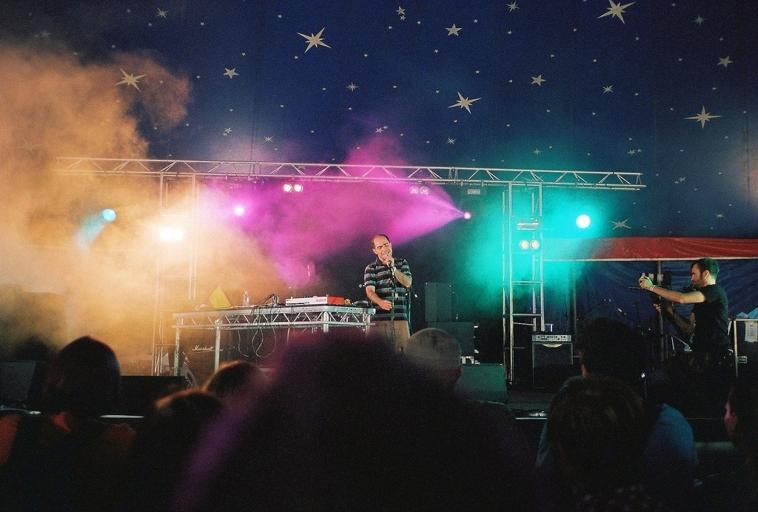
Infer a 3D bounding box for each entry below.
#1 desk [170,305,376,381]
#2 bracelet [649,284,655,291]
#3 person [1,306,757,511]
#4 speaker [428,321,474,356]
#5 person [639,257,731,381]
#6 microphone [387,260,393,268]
[{"bbox_3d":[-1.289,1.387,10.535,1.187,1.205,3.445,-15,0,-32],"label":"desk"},{"bbox_3d":[3.324,0.391,8.941,0.022,0.064,0.059,31,-22,-6],"label":"bracelet"},{"bbox_3d":[1.267,1.264,6.012,3.759,1.570,0.664,3,-9,-8],"label":"person"},{"bbox_3d":[1.180,1.330,11.177,0.670,0.573,0.353,-3,-30,23],"label":"speaker"},{"bbox_3d":[4.065,0.859,9.746,0.970,1.750,0.639,6,-46,25],"label":"person"},{"bbox_3d":[0.150,0.098,8.987,0.065,0.086,0.125,2,-9,0],"label":"microphone"}]
